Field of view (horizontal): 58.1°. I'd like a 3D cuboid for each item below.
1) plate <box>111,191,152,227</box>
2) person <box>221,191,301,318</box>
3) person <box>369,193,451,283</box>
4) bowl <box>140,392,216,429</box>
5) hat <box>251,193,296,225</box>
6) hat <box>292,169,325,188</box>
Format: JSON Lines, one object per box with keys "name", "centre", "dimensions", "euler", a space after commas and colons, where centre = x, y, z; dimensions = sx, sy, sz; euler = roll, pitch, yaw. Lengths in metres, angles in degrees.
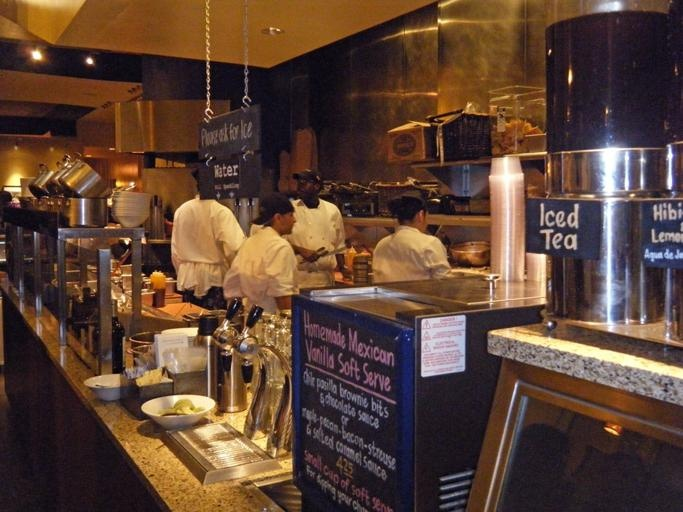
{"name": "plate", "centre": [-1.056, -0.241, 3.142], "dimensions": [0.187, 0.162, 0.173], "euler": [3, 0, -10]}
{"name": "person", "centre": [-0.479, -0.011, 3.990], "dimensions": [0.434, 0.758, 0.609], "euler": [-9, 16, -28]}
{"name": "person", "centre": [0.482, -0.128, 4.171], "dimensions": [0.610, 0.738, 0.396], "euler": [9, 18, 43]}
{"name": "bowl", "centre": [-0.537, 0.529, 2.037], "dimensions": [0.233, 0.090, 0.188], "euler": [-5, 15, -12]}
{"name": "hat", "centre": [-0.447, -0.326, 4.050], "dimensions": [0.254, 0.143, 0.184], "euler": [-12, 16, -33]}
{"name": "hat", "centre": [-0.281, -0.673, 5.252], "dimensions": [0.212, 0.113, 0.144], "euler": [25, -3, -32]}
